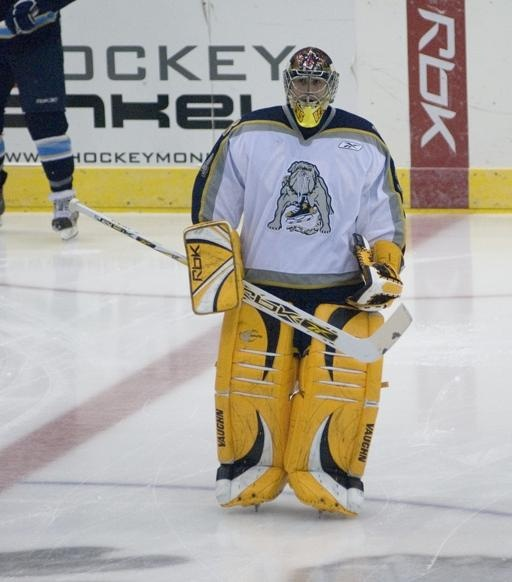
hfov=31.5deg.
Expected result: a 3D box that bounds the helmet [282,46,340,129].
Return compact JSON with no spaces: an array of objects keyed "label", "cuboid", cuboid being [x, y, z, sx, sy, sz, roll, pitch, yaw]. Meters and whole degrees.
[{"label":"helmet","cuboid":[0.138,-0.530,2.351,0.167,0.177,0.195,0,16,-7]}]

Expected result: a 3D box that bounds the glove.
[{"label":"glove","cuboid":[0.287,-0.055,2.284,0.140,0.091,0.201,29,41,-5]}]
